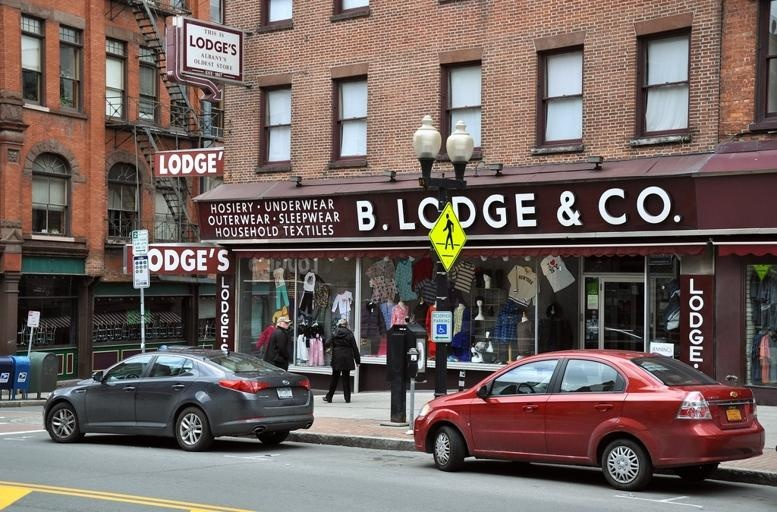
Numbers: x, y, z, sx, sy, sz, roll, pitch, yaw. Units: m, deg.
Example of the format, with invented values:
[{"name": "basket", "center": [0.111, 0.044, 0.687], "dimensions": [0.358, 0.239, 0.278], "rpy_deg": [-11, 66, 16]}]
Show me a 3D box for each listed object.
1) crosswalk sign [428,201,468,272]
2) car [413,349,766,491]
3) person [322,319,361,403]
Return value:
[{"name": "crosswalk sign", "center": [1.274, -0.449, 16.987], "dimensions": [0.973, 1.609, 0.046], "rpy_deg": [4, -4, -33]}, {"name": "car", "center": [3.416, 2.685, 13.494], "dimensions": [4.732, 1.742, 2.485], "rpy_deg": [-1, -5, 35]}, {"name": "person", "center": [-1.290, 2.913, 21.947], "dimensions": [0.970, 2.296, 0.759], "rpy_deg": [0, 5, -2]}]
